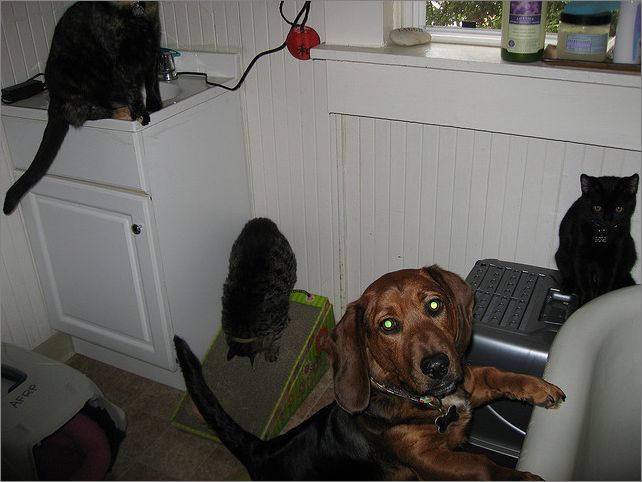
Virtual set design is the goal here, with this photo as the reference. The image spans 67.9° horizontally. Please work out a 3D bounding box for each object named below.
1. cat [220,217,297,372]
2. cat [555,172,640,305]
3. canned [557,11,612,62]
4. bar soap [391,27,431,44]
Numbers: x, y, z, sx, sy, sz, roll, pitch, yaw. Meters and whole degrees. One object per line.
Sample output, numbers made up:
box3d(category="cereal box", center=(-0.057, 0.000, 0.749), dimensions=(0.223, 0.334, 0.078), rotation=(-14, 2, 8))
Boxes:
box3d(category="cat", center=(-0.227, 0.205, 2.013), dimensions=(0.259, 0.590, 0.297), rotation=(4, 1, 6))
box3d(category="cat", center=(0.817, -0.007, 1.391), dimensions=(0.207, 0.360, 0.212), rotation=(15, 29, 27))
box3d(category="canned", center=(0.776, -0.622, 1.471), dimensions=(0.146, 0.149, 0.155), rotation=(9, 31, 16))
box3d(category="bar soap", center=(0.324, -0.745, 1.721), dimensions=(0.120, 0.039, 0.078), rotation=(-1, 34, -3))
